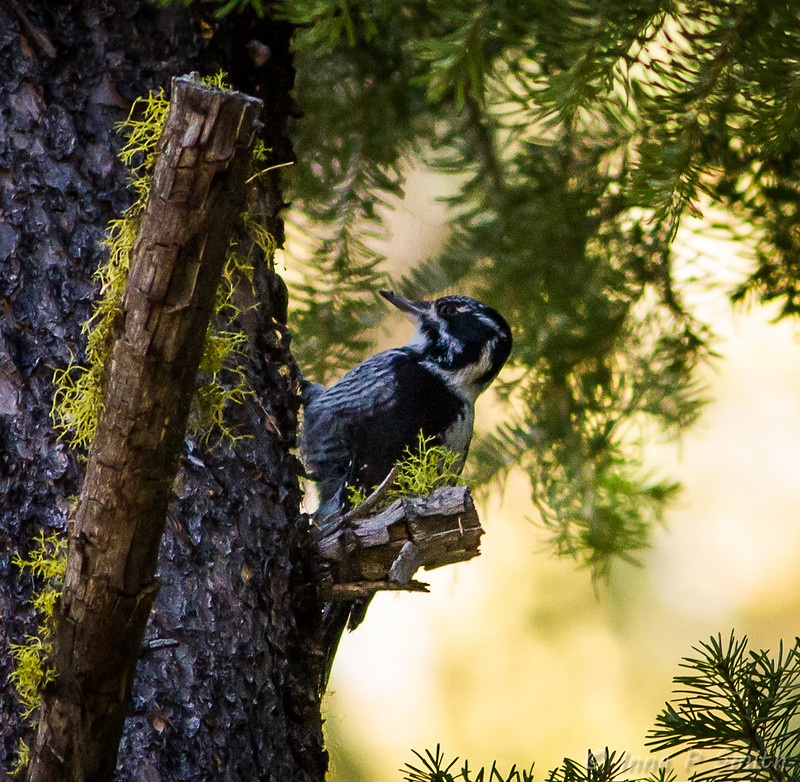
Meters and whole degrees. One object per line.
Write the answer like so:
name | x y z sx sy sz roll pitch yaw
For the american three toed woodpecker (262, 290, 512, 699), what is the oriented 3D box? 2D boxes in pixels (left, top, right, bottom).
american three toed woodpecker | -0.061 0.161 4.341 0.461 1.203 0.338 13 -30 10
